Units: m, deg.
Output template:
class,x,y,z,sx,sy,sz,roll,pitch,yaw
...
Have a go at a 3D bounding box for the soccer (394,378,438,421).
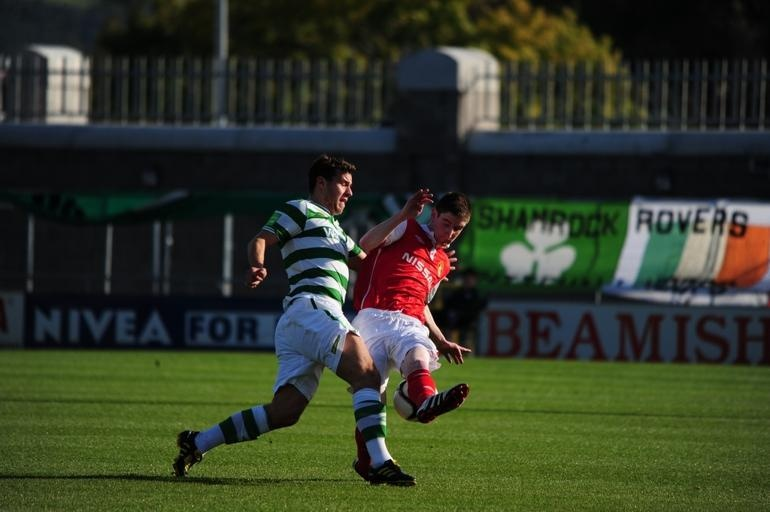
class,x,y,z,sx,sy,sz,roll,pitch,yaw
soccer,0.431,2.133,25.357,0.471,0.559,0.494,-3,-11,-3
